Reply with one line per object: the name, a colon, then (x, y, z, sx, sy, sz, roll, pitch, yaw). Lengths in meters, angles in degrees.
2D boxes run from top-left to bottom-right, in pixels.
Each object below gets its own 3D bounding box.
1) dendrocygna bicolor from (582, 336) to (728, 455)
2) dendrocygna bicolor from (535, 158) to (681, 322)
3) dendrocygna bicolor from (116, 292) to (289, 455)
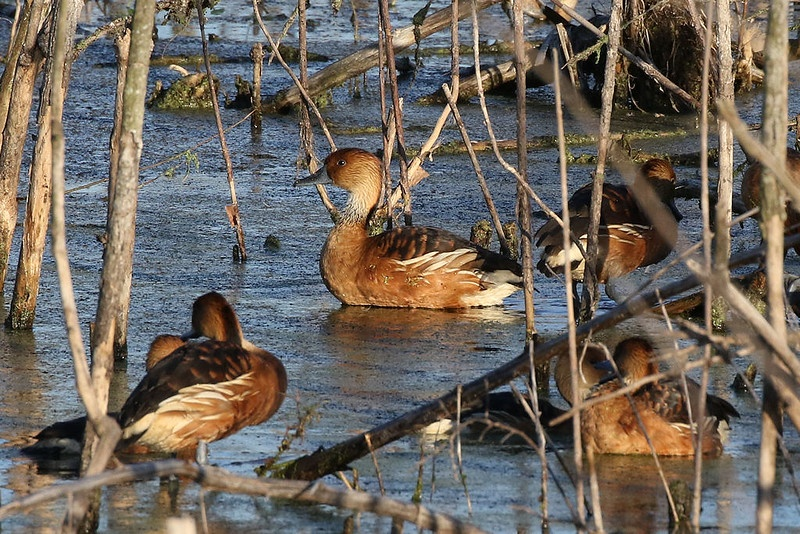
dendrocygna bicolor: (1.782, 0.918, 10.110, 1.160, 0.783, 0.735, 5, 5, 0)
dendrocygna bicolor: (1.834, -0.339, 12.549, 1.461, 1.042, 0.888, -7, 13, -39)
dendrocygna bicolor: (-1.434, 0.727, 9.552, 0.777, 0.983, 1.338, -1, 7, 39)
